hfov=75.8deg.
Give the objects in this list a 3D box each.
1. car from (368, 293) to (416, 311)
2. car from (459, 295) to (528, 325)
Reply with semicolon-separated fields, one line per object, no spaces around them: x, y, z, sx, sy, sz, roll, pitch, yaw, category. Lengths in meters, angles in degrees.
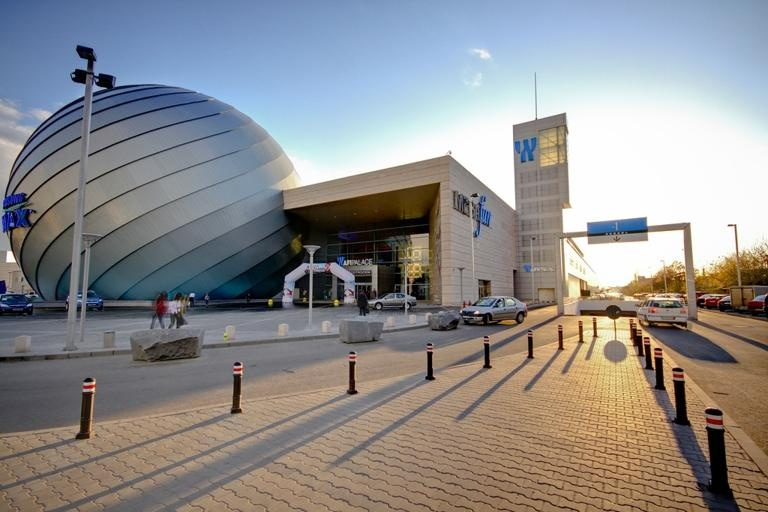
0.733;3.652;41.404;3.870;1.323;1.777;2;-7;-1;car
6.089;3.033;27.627;3.416;1.295;1.580;6;-11;-33;car
